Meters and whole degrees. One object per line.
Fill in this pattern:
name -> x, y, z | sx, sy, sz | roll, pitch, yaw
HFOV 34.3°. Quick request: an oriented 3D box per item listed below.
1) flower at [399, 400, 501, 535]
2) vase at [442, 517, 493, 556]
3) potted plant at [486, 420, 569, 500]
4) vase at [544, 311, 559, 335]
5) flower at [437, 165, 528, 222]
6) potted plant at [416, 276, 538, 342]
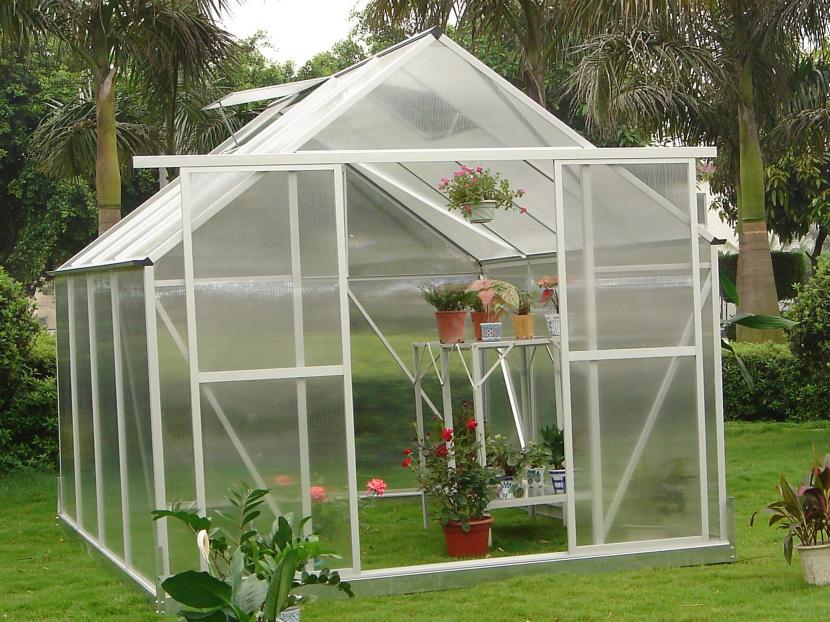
flower -> 0.396, 1.789, 15.183 | 1.169, 1.633, 1.167 | -4, 0, 14
vase -> 0.564, 2.486, 14.686 | 0.652, 0.447, 0.654 | -2, -1, -7
potted plant -> 1.224, 1.668, 14.943 | 0.868, 0.620, 0.738 | 2, -5, -35
vase -> 1.500, 0.144, 14.825 | 0.204, 0.255, 0.229 | -1, 2, -15
flower -> 0.666, -1.276, 14.938 | 0.640, 0.590, 0.857 | -2, 4, -16
potted plant -> 0.692, 0.016, 15.047 | 1.215, 0.709, 0.702 | -1, 10, 6
